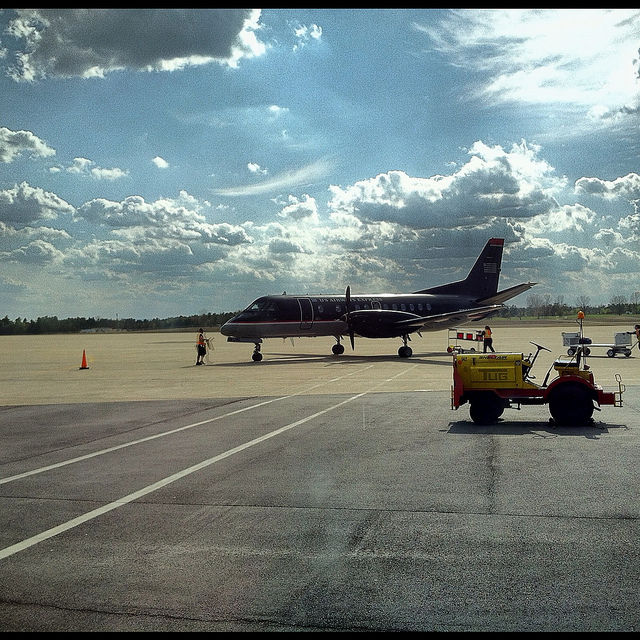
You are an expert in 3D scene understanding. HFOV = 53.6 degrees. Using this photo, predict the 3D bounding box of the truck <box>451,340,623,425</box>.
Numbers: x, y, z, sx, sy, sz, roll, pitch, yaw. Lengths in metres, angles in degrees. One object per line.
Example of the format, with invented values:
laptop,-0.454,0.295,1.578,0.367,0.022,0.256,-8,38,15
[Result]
truck,4.974,1.386,14.881,3.533,2.387,1.966,-1,-6,24
